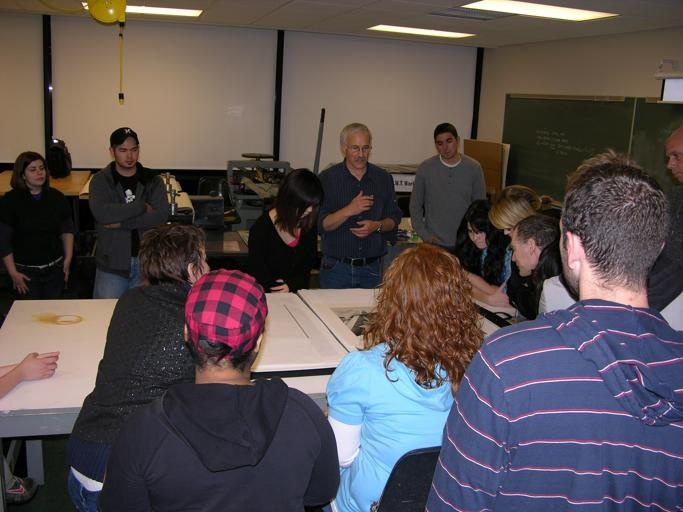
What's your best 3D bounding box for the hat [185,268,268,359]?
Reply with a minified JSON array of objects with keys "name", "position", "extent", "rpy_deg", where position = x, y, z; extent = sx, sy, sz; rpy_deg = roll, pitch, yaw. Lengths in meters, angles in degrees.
[{"name":"hat","position":[-0.287,0.141,1.366],"extent":[0.163,0.176,0.231],"rpy_deg":[8,55,1]}]
